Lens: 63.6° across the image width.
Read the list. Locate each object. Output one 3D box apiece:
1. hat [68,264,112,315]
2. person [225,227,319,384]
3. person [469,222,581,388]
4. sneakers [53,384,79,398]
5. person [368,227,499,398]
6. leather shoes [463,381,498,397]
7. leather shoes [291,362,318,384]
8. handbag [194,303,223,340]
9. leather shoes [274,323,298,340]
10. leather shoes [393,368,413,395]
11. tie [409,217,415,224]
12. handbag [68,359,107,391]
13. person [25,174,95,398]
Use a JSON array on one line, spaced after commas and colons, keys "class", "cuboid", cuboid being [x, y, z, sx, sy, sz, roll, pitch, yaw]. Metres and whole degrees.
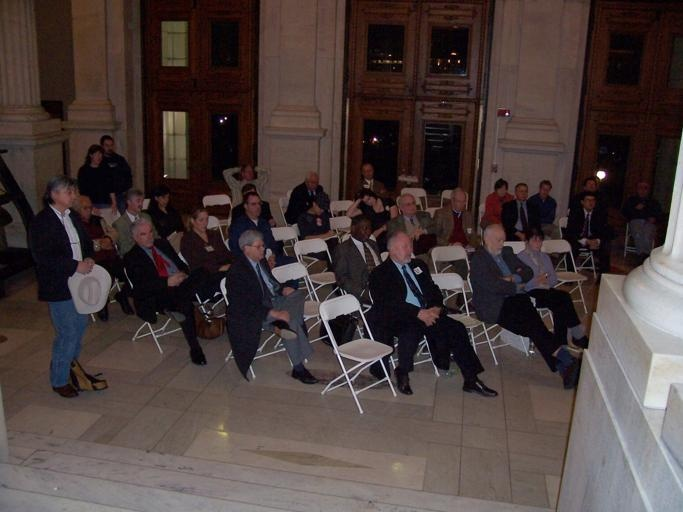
[{"class": "hat", "cuboid": [-2.327, 0.314, 5.113, 0.101, 0.389, 0.382, 0, 9, 31]}, {"class": "person", "cuboid": [-0.742, 0.505, 5.816, 0.927, 1.509, 0.761, 4, 13, 4]}, {"class": "person", "cuboid": [2.055, 0.457, 6.050, 0.705, 1.168, 1.820, -15, 27, -9]}, {"class": "sneakers", "cuboid": [-2.656, 1.272, 5.316, 0.218, 0.088, 0.116, 6, 32, 25]}, {"class": "person", "cuboid": [0.898, 0.635, 5.623, 1.409, 1.619, 1.127, 8, 18, 38]}, {"class": "leather shoes", "cuboid": [1.411, 1.337, 5.643, 0.358, 0.152, 0.134, 6, 12, 18]}, {"class": "leather shoes", "cuboid": [-0.391, 1.238, 5.793, 0.291, 0.129, 0.147, 16, 25, 22]}, {"class": "handbag", "cuboid": [-1.552, 0.737, 6.396, 0.372, 0.417, 0.225, 1, 23, -6]}, {"class": "leather shoes", "cuboid": [-0.568, 0.746, 5.543, 0.255, 0.111, 0.110, 41, -5, 1]}, {"class": "leather shoes", "cuboid": [0.627, 1.284, 5.609, 0.106, 0.150, 0.322, -8, 10, -13]}, {"class": "tie", "cuboid": [1.037, -0.531, 8.107, 0.071, 0.104, 0.030, -2, 1, -9]}, {"class": "handbag", "cuboid": [-2.486, 1.196, 5.426, 0.520, 0.219, 0.176, 12, 17, 33]}, {"class": "person", "cuboid": [-2.537, 0.332, 5.058, 0.498, 2.123, 0.385, -4, 15, -29]}]
